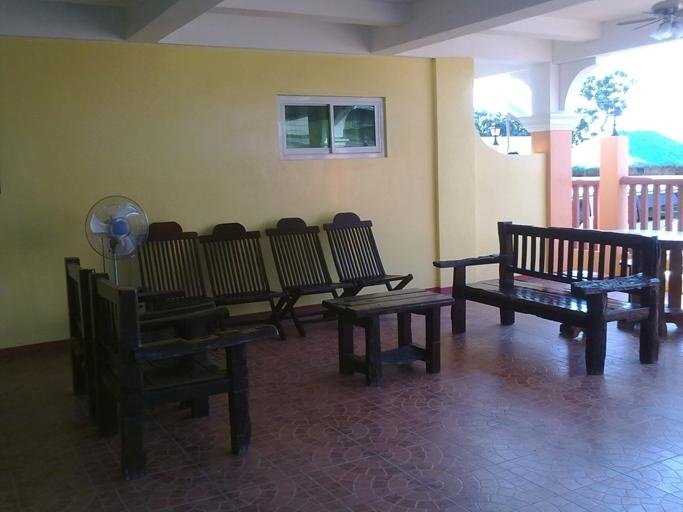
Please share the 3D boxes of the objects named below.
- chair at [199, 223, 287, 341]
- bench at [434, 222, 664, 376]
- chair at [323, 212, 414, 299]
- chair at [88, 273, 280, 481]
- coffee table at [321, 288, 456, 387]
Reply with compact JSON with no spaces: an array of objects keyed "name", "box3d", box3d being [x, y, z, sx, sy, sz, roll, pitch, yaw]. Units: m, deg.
[{"name":"chair","box3d":[-1.174,0.346,6.211,0.826,1.300,0.956,-5,10,-25]},{"name":"bench","box3d":[2.073,0.374,5.569,0.951,1.229,2.140,-6,7,-22]},{"name":"chair","box3d":[0.347,0.186,6.726,0.753,1.423,0.998,-8,8,-25]},{"name":"chair","box3d":[-1.260,0.764,3.804,1.293,1.247,0.920,7,14,43]},{"name":"coffee table","box3d":[0.394,0.676,5.066,1.342,0.900,0.746,-4,4,-30]}]
